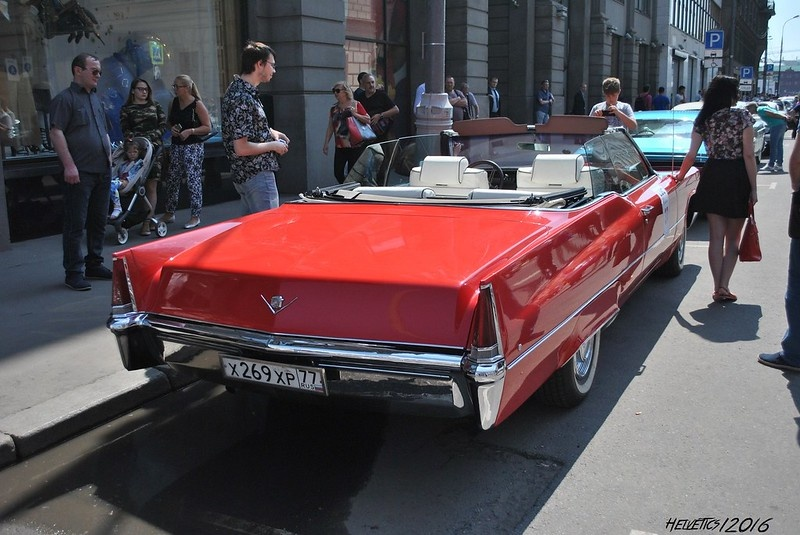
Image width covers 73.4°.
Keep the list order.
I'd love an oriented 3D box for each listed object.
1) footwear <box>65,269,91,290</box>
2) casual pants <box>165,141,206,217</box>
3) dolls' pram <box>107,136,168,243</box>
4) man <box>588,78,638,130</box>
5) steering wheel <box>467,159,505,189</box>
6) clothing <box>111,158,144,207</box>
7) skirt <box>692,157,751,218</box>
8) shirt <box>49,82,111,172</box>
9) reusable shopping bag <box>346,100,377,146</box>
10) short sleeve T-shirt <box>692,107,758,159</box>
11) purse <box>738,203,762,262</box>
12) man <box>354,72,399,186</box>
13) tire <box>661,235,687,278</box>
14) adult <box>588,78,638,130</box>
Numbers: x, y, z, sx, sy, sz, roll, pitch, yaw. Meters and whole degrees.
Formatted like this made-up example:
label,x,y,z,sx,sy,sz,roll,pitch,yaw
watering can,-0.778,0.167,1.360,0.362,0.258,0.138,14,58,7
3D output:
label,x,y,z,sx,sy,sz,roll,pitch,yaw
footwear,-3.845,0.158,6.376,0.327,0.217,0.211,13,23,42
casual pants,-3.772,-1.500,9.298,0.598,1.499,0.407,2,38,-20
dolls' pram,-4.235,-1.243,8.181,0.898,1.553,1.056,8,11,26
man,3.711,-2.578,9.208,0.667,1.278,0.678,-21,21,-30
steering wheel,0.909,-0.899,5.183,0.303,0.339,0.064,-1,-3,-18
clothing,-4.114,-1.347,8.066,0.429,0.695,0.258,-4,-22,28
skirt,3.669,-0.964,6.066,0.611,0.409,0.758,-2,53,43
shirt,-3.855,-1.713,6.548,0.433,1.040,0.881,6,15,10
reusable shopping bag,-0.750,-2.651,9.737,0.298,0.949,0.634,-20,-2,34
short sleeve T-shirt,3.594,-1.480,5.919,0.525,0.540,0.230,8,19,32
purse,3.958,-0.374,5.980,0.202,0.632,0.776,9,20,34
man,-0.512,-2.781,10.685,0.760,2.118,0.653,2,41,9
tire,3.299,-0.123,6.427,0.131,0.423,0.392,1,27,33
adult,3.685,-2.567,9.202,0.671,1.266,0.647,-16,18,-21
